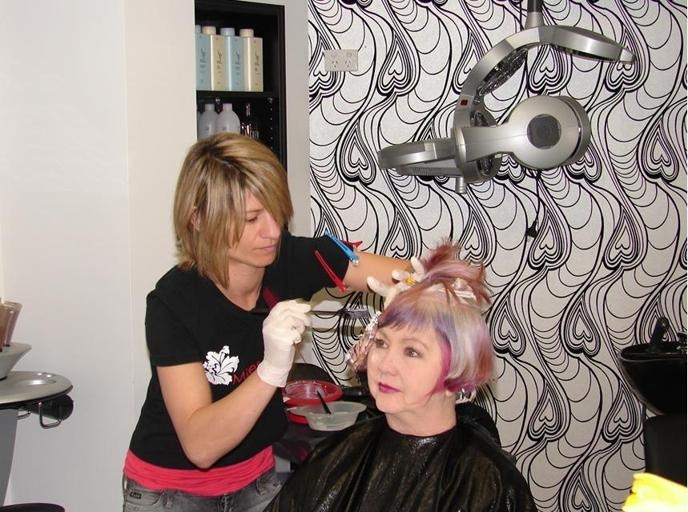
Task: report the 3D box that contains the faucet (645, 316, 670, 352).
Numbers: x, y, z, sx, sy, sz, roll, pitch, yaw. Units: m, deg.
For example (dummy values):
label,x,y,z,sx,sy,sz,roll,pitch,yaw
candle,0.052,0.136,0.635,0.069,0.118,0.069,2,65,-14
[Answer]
label,x,y,z,sx,sy,sz,roll,pitch,yaw
faucet,1.459,0.359,2.625,0.046,0.130,0.043,22,32,26

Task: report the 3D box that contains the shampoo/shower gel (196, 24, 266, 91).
label,x,y,z,sx,sy,sz,roll,pitch,yaw
shampoo/shower gel,-0.520,-0.891,2.556,0.310,0.340,0.176,-2,6,-24
